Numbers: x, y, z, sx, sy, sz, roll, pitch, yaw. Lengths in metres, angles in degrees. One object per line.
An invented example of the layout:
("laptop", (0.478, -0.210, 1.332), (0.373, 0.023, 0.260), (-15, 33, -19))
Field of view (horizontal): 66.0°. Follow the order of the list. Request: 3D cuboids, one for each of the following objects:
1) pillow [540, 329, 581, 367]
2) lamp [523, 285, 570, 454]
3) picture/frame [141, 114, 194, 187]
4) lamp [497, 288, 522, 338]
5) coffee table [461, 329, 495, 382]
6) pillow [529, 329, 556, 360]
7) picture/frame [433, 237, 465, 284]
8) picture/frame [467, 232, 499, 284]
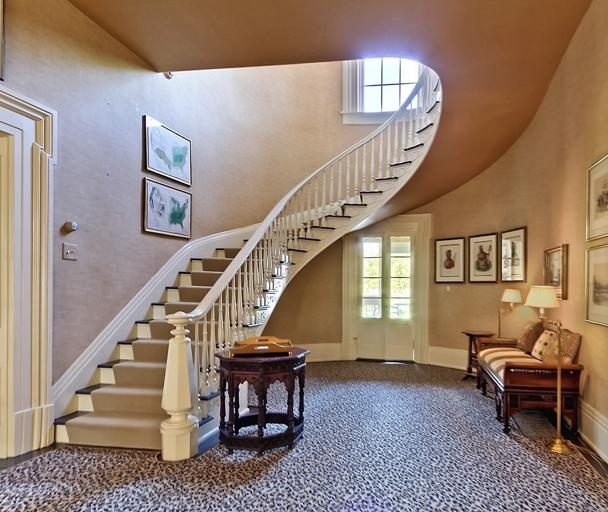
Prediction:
("pillow", (2.555, 0.903, 4.682), (0.092, 0.331, 0.304), (20, 1, -15))
("lamp", (2.466, 1.024, 4.813), (0.370, 1.457, 1.286), (1, 2, 26))
("picture/frame", (-1.785, -1.373, 6.209), (0.029, 0.701, 0.922), (-7, -7, 22))
("lamp", (2.796, 0.795, 6.398), (0.293, 0.759, 0.911), (1, 2, 23))
("coffee table", (2.391, 1.405, 6.774), (0.530, 0.747, 0.583), (0, -1, -7))
("pillow", (2.595, 0.959, 5.108), (0.077, 0.279, 0.275), (25, 10, 8))
("picture/frame", (2.374, 0.068, 7.636), (0.032, 0.889, 0.573), (6, -12, -37))
("picture/frame", (2.718, 0.018, 7.099), (0.039, 0.963, 0.628), (2, -7, -27))
